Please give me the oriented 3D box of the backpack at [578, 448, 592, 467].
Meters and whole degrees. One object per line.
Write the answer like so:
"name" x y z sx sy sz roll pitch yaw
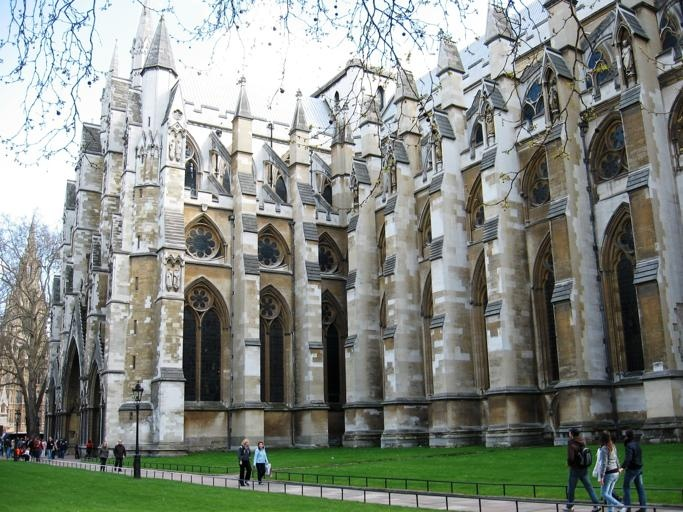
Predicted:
"backpack" 6.318 5.296 20.525 0.266 0.523 0.344 -11 -19 24
